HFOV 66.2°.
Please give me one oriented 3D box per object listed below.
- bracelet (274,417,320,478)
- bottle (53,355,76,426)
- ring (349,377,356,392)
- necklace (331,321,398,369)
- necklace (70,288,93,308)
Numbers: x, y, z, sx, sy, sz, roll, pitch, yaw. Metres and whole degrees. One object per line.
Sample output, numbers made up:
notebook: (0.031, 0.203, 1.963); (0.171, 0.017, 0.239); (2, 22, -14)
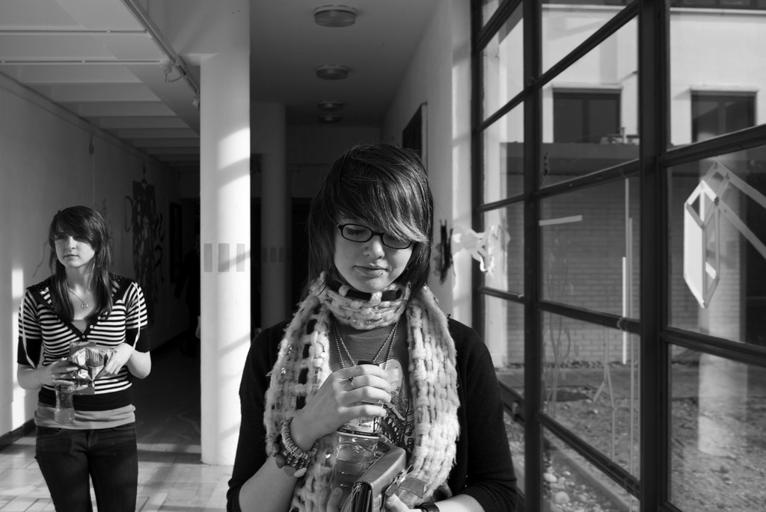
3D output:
bracelet: (-0.259, 0.565, 1.738); (0.152, 0.133, 0.156); (9, 18, 4)
bottle: (-1.498, 0.644, 2.779); (0.108, 0.314, 0.033); (-1, -2, 3)
ring: (-0.085, 0.349, 1.606); (0.024, 0.028, 0.021); (-5, -2, 6)
necklace: (-0.052, 0.259, 1.748); (0.115, 0.130, 0.127); (0, 6, -7)
necklace: (-1.523, 0.210, 2.973); (0.098, 0.095, 0.037); (5, 12, -18)
